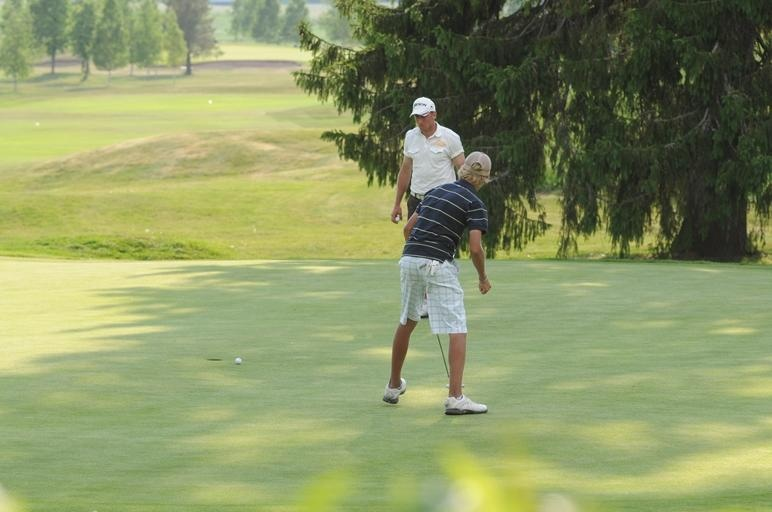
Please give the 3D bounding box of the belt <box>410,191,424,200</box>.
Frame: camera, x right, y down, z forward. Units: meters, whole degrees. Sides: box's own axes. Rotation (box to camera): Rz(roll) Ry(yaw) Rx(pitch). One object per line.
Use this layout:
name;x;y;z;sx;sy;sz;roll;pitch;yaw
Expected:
belt;0.764;-1.451;37.590;0.213;0.128;0.207;4;14;-1

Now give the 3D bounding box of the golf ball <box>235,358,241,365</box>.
golf ball;-3.325;2.389;35.646;0.176;0.147;0.205;2;4;8
